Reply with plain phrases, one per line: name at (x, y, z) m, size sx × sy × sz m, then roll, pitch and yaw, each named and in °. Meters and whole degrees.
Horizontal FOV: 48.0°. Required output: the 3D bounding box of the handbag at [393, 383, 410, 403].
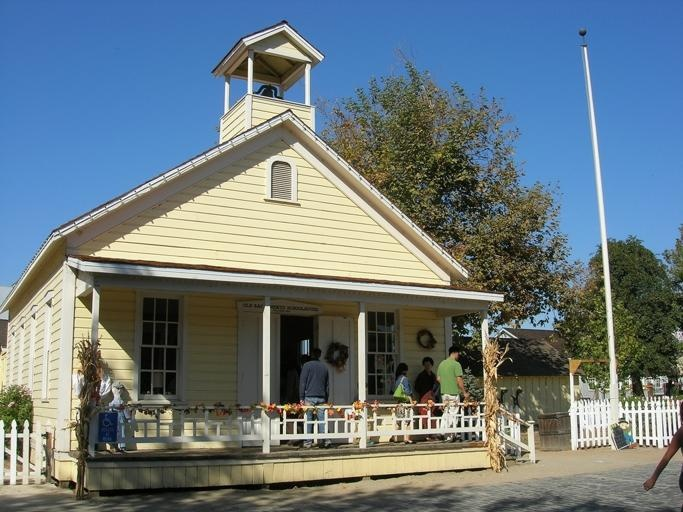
handbag at (1.512, 3.443, 19.410) m, size 0.303 × 0.598 × 0.549 m, roll -11°, pitch -17°, yaw 40°

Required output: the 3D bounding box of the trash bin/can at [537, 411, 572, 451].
trash bin/can at (6.417, 5.243, 22.952) m, size 0.738 × 0.989 × 0.972 m, roll -12°, pitch -15°, yaw 38°

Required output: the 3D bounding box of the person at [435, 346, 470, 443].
person at (2.760, 3.373, 19.143) m, size 0.644 × 2.364 × 1.328 m, roll -2°, pitch -13°, yaw 8°
